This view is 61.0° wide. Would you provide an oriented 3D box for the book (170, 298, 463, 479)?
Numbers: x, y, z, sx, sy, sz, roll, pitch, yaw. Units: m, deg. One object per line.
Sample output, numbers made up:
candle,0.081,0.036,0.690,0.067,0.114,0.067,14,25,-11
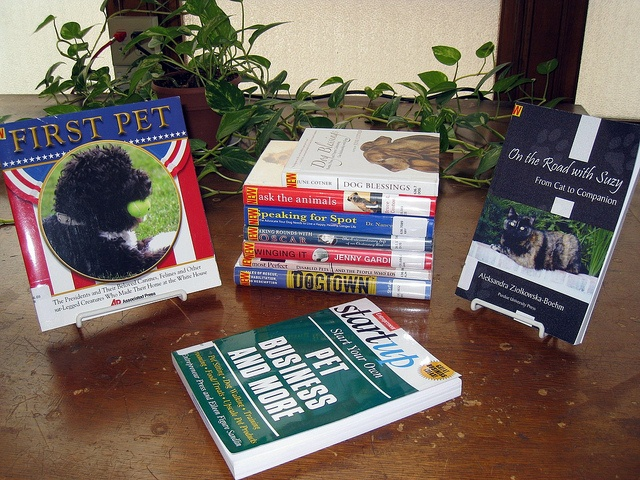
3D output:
book,0.003,0.167,0.676,0.277,0.023,0.185,-11,24,-18
